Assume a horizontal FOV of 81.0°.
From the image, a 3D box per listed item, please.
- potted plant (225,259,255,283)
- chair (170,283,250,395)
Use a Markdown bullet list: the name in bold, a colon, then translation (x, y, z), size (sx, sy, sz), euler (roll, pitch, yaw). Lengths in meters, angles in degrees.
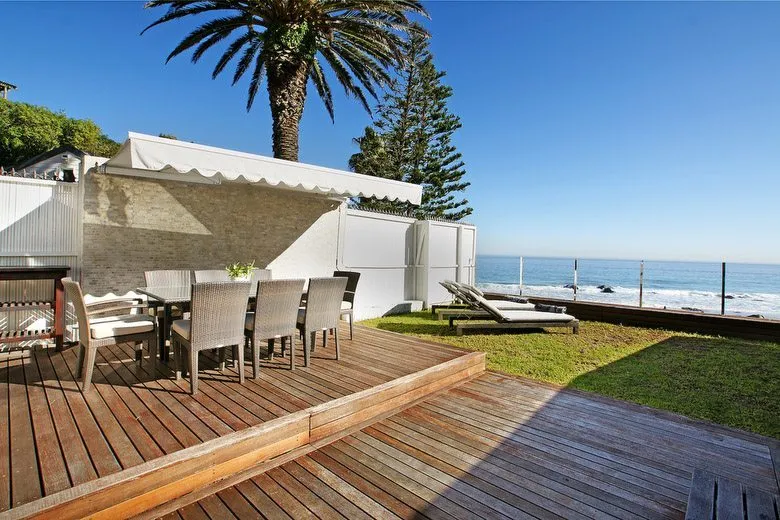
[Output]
- **potted plant**: translation (-2.476, 0.190, 7.555), size (0.523, 0.358, 0.510), euler (-1, 5, -19)
- **chair**: translation (-2.575, 1.085, 6.499), size (0.879, 1.547, 0.967), euler (1, -1, -35)
